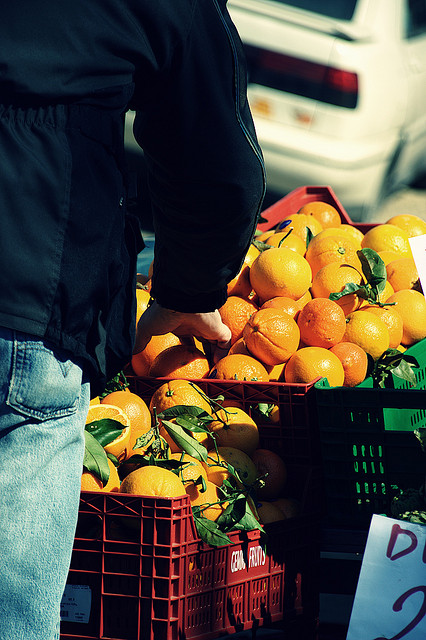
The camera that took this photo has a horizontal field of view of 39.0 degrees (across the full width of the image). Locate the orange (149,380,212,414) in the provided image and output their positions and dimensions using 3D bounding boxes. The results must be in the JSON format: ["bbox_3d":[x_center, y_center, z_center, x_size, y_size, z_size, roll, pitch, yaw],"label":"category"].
[{"bbox_3d":[-0.077,0.192,1.440,0.101,0.112,0.089,-13,65,4],"label":"orange"}]

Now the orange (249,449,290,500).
[{"bbox_3d":[0.125,0.348,1.340,0.099,0.154,0.078,-4,108,9],"label":"orange"}]

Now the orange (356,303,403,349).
[{"bbox_3d":[0.475,0.008,1.728,0.134,0.094,0.114,-3,108,0],"label":"orange"}]

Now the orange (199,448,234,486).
[{"bbox_3d":[0.008,0.317,1.299,0.082,0.079,0.091,10,69,-38],"label":"orange"}]

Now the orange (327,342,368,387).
[{"bbox_3d":[0.352,0.109,1.520,0.107,0.103,0.119,2,94,5],"label":"orange"}]

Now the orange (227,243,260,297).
[{"bbox_3d":[0.107,-0.144,1.813,0.097,0.083,0.153,16,114,30],"label":"orange"}]

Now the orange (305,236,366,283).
[{"bbox_3d":[0.362,-0.198,1.821,0.150,0.147,0.127,-13,112,-32],"label":"orange"}]

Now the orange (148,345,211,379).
[{"bbox_3d":[-0.087,0.124,1.590,0.154,0.163,0.097,-3,69,2],"label":"orange"}]

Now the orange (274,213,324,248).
[{"bbox_3d":[0.297,-0.326,2.147,0.153,0.142,0.138,16,87,-3],"label":"orange"}]

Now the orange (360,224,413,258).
[{"bbox_3d":[0.581,-0.279,2.069,0.144,0.168,0.141,-23,105,-7],"label":"orange"}]

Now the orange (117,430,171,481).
[{"bbox_3d":[-0.157,0.293,1.296,0.089,0.097,0.089,8,110,27],"label":"orange"}]

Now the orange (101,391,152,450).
[{"bbox_3d":[-0.181,0.223,1.377,0.116,0.112,0.129,4,98,1],"label":"orange"}]

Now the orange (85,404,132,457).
[{"bbox_3d":[-0.220,0.222,1.303,0.135,0.082,0.127,4,42,-5],"label":"orange"}]

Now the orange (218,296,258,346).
[{"bbox_3d":[0.064,-0.012,1.732,0.128,0.121,0.143,12,65,17],"label":"orange"}]

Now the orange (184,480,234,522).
[{"bbox_3d":[-0.007,0.361,1.216,0.077,0.075,0.086,-1,86,7],"label":"orange"}]

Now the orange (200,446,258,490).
[{"bbox_3d":[0.036,0.319,1.310,0.093,0.108,0.089,-8,91,13],"label":"orange"}]

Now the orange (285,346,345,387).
[{"bbox_3d":[0.245,0.111,1.444,0.124,0.171,0.098,-5,105,-4],"label":"orange"}]

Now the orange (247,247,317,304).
[{"bbox_3d":[0.197,-0.121,1.733,0.177,0.161,0.158,3,78,-3],"label":"orange"}]

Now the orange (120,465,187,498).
[{"bbox_3d":[-0.101,0.285,1.124,0.072,0.072,0.068,-2,86,-23],"label":"orange"}]
